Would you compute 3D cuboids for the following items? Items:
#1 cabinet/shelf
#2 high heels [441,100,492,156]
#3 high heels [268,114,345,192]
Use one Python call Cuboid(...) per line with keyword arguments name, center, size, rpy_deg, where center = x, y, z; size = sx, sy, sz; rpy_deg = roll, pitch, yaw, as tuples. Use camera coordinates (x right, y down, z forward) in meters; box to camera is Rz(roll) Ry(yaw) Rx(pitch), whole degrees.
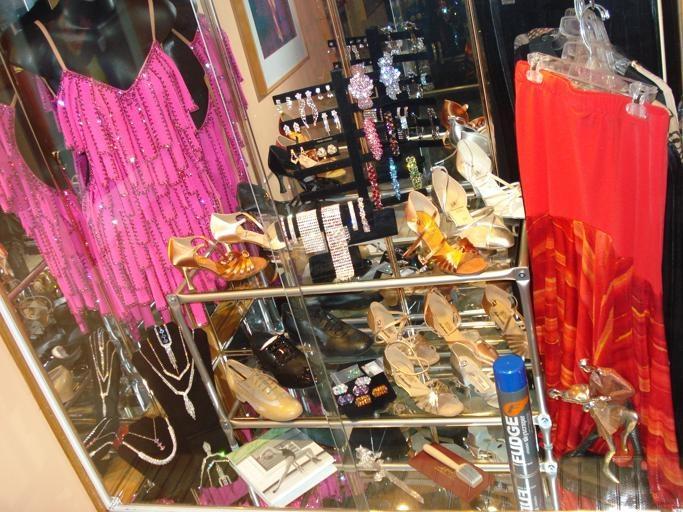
Cuboid(name="cabinet/shelf", center=(0.072, 0.288, 1.530), size=(0.969, 0.889, 0.551), rpy_deg=(-2, 44, 3))
Cuboid(name="high heels", center=(0.405, -0.409, 1.730), size=(0.138, 0.184, 0.068), rpy_deg=(-27, 4, 8))
Cuboid(name="high heels", center=(-0.083, -0.239, 1.243), size=(0.073, 0.093, 0.239), rpy_deg=(16, 30, 23))
